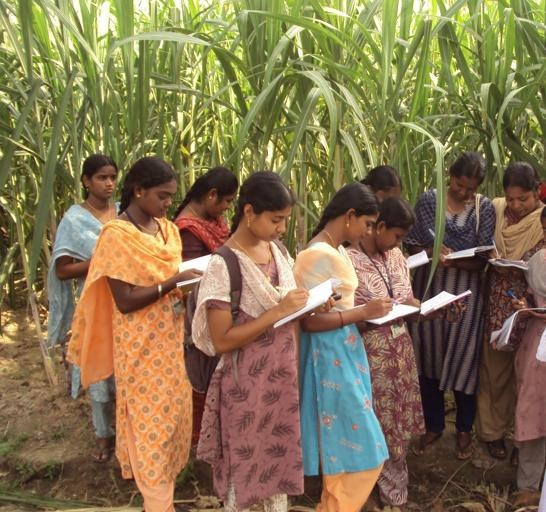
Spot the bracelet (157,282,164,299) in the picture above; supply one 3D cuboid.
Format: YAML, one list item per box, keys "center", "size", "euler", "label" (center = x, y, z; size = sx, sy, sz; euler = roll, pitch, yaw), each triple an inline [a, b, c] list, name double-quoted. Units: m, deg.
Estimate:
- center: [-0.472, 0.151, 2.235]
  size: [0.015, 0.046, 0.029]
  euler: [-4, 11, -37]
  label: "bracelet"

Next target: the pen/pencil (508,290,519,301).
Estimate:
- center: [1.252, 0.201, 2.776]
  size: [0.023, 0.080, 0.020]
  euler: [-40, 20, 1]
  label: "pen/pencil"

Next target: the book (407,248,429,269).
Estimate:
- center: [0.705, 0.020, 2.631]
  size: [0.096, 0.089, 0.111]
  euler: [-16, 3, -6]
  label: "book"

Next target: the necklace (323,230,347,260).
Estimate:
- center: [0.256, -0.047, 2.160]
  size: [0.046, 0.113, 0.077]
  euler: [-25, 20, 1]
  label: "necklace"

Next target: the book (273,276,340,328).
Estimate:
- center: [0.118, 0.164, 1.880]
  size: [0.176, 0.033, 0.301]
  euler: [-28, -3, -39]
  label: "book"

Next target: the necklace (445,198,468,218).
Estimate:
- center: [0.985, -0.257, 2.846]
  size: [0.097, 0.154, 0.036]
  euler: [3, 1, 12]
  label: "necklace"

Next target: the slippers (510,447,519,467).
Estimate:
- center: [1.326, 1.107, 2.930]
  size: [0.032, 0.111, 0.041]
  euler: [-2, -20, 35]
  label: "slippers"

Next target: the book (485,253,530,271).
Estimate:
- center: [1.202, 0.039, 2.687]
  size: [0.173, 0.066, 0.270]
  euler: [10, 13, 43]
  label: "book"

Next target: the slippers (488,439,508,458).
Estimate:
- center: [1.258, 1.085, 2.988]
  size: [0.051, 0.066, 0.150]
  euler: [-5, -15, 3]
  label: "slippers"

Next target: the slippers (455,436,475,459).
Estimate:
- center: [1.068, 1.071, 2.977]
  size: [0.054, 0.074, 0.176]
  euler: [-2, 3, 11]
  label: "slippers"

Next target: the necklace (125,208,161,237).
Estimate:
- center: [-0.573, -0.146, 2.340]
  size: [0.127, 0.059, 0.101]
  euler: [34, 0, -5]
  label: "necklace"

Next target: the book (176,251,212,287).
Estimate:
- center: [-0.336, 0.044, 2.349]
  size: [0.155, 0.041, 0.147]
  euler: [-17, 26, -30]
  label: "book"
